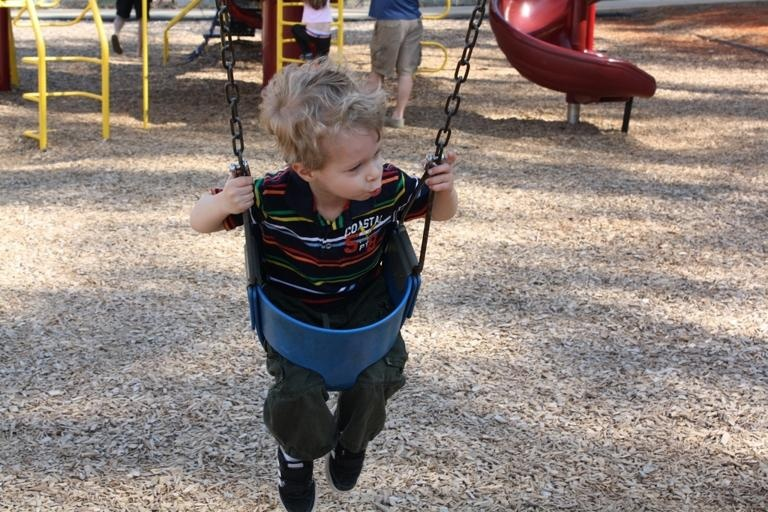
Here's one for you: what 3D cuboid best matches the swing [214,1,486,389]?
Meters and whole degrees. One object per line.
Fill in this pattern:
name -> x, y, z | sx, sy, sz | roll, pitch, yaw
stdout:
swing -> -0.166, -0.143, 3.371 | 0.963, 1.340, 0.721 | 0, 22, -4
